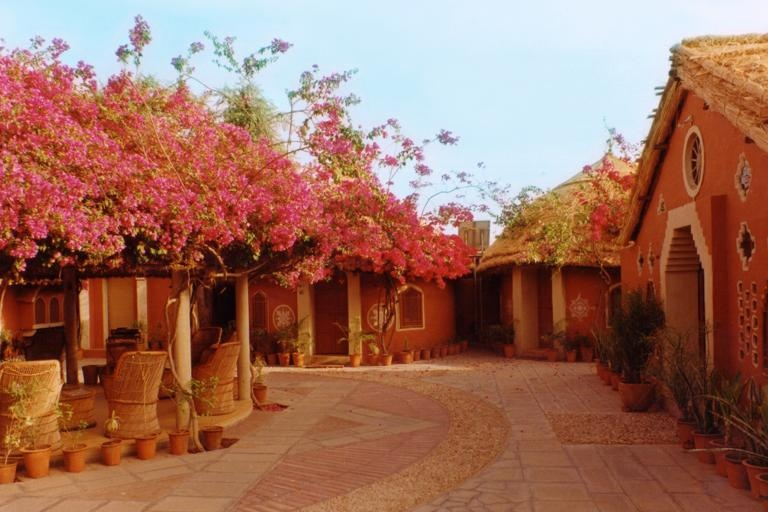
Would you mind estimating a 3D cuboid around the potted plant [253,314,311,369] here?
[{"bbox_3d":[-2.953,2.705,17.133,1.773,1.844,1.251,1,-14,-2],"label":"potted plant"}]

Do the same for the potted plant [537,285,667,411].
[{"bbox_3d":[4.584,1.755,11.705,1.672,3.132,1.862,-1,0,-12],"label":"potted plant"}]

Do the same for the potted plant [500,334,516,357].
[{"bbox_3d":[3.790,2.653,17.840,0.355,0.655,0.579,0,1,7],"label":"potted plant"}]
